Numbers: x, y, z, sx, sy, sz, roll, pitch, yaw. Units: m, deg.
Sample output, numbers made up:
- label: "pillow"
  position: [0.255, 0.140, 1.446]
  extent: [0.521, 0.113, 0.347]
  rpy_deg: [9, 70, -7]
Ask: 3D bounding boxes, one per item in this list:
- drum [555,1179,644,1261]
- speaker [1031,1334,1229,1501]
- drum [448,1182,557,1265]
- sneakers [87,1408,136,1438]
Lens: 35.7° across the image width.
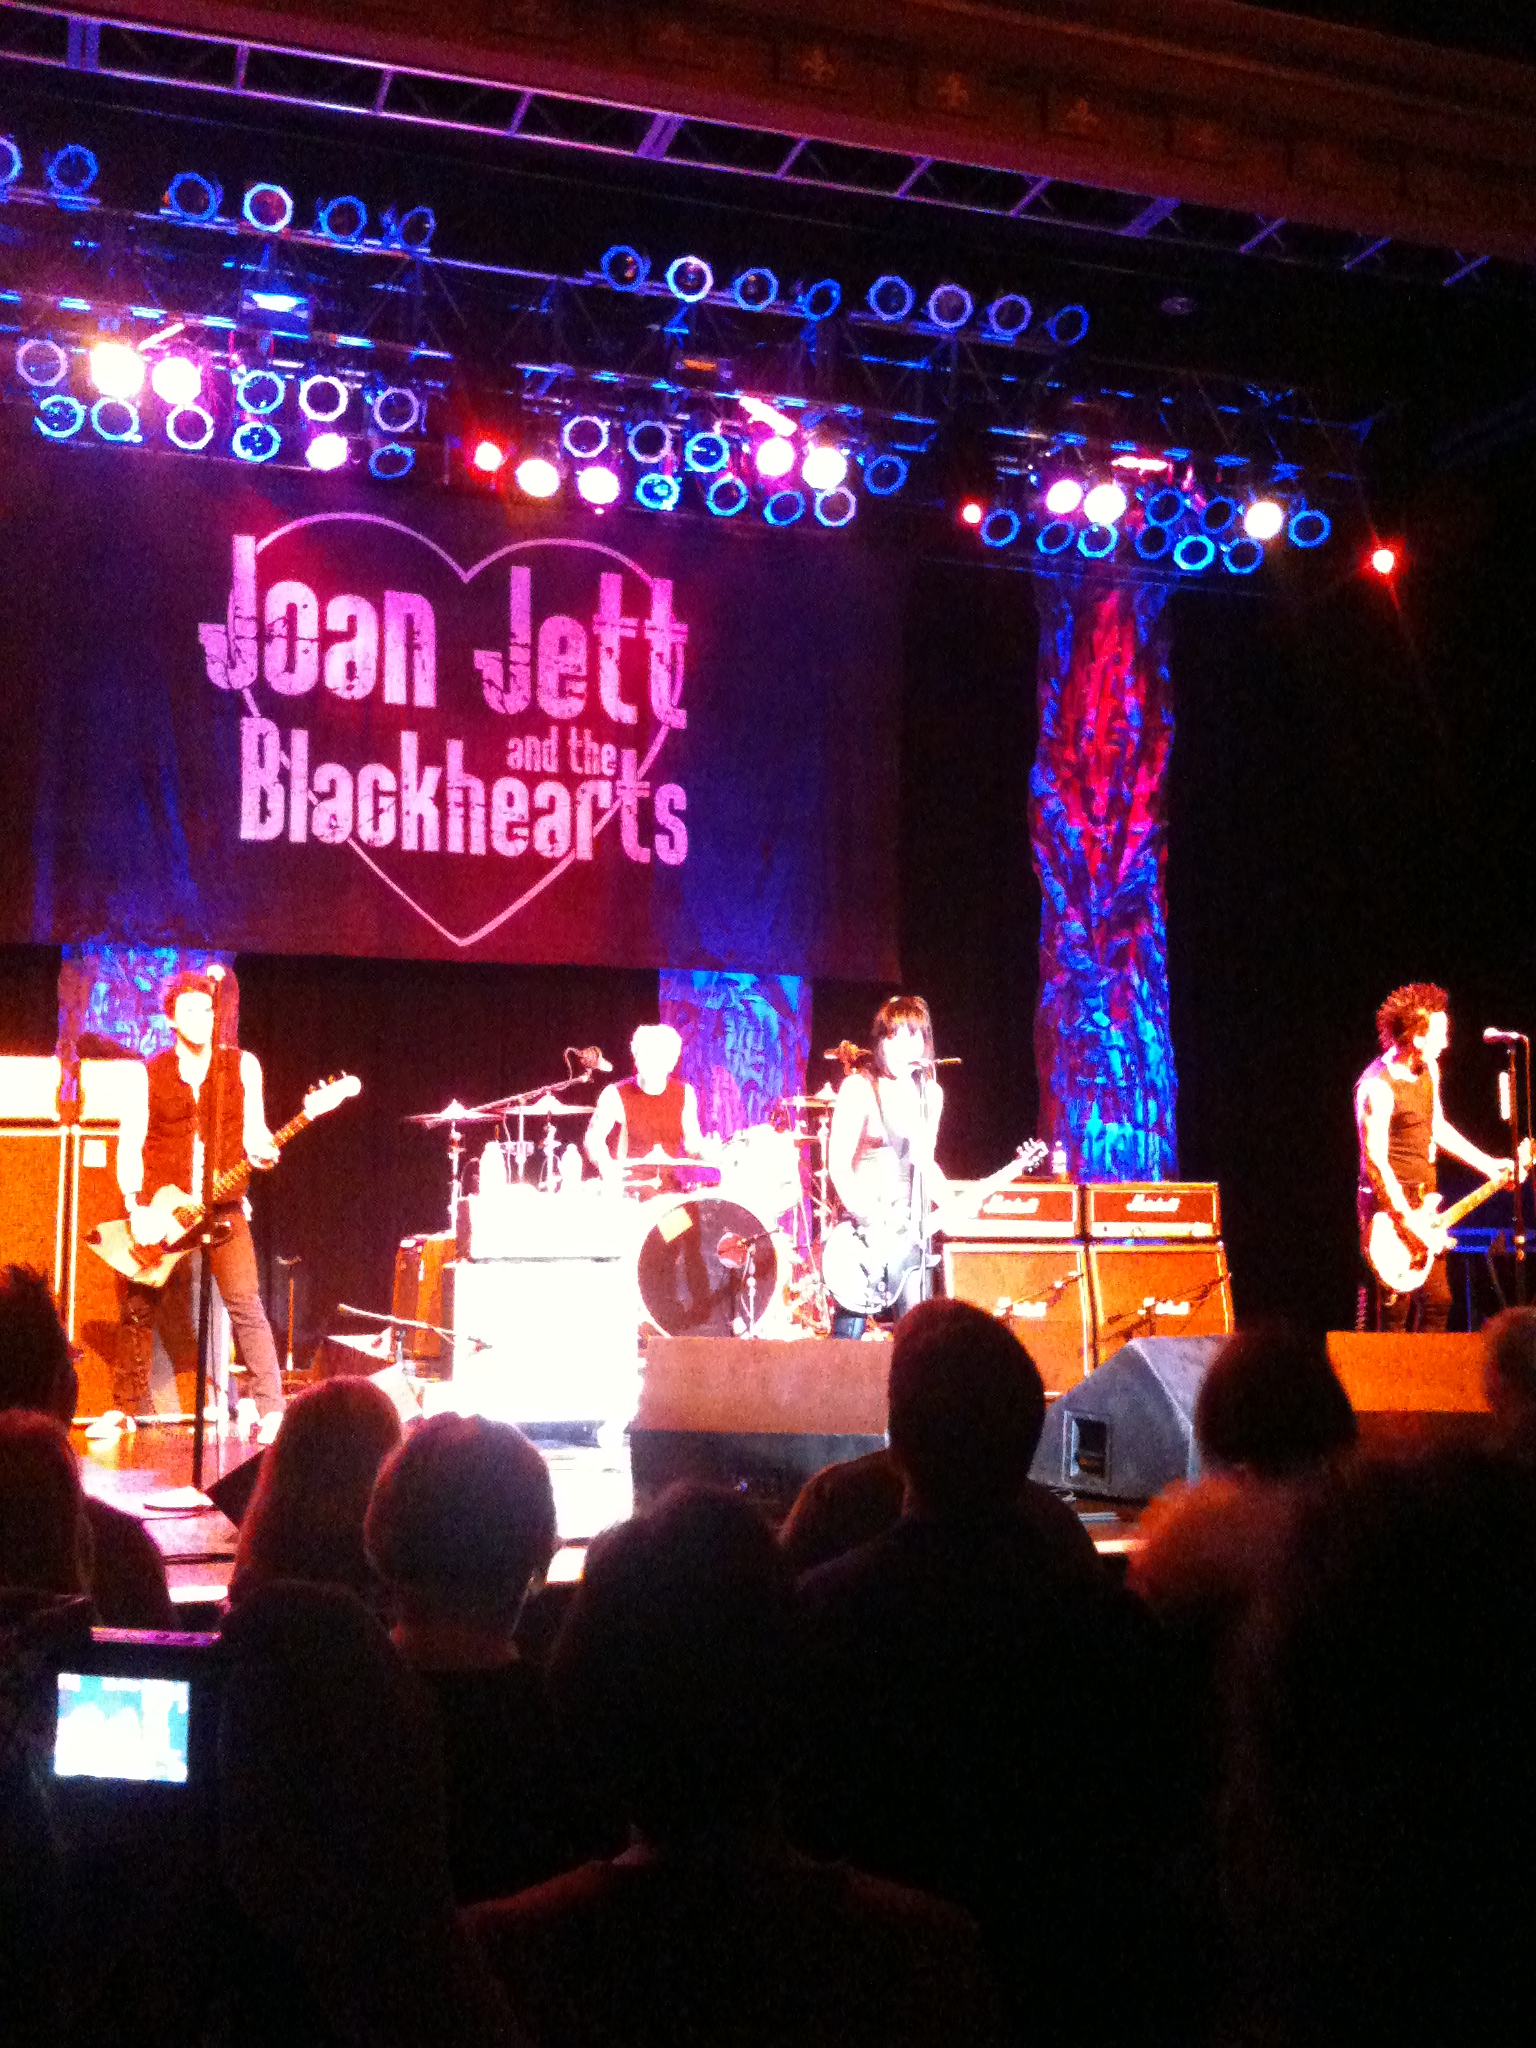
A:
- label: "drum"
  position: [-0.462, 0.522, 6.323]
  extent: [0.195, 0.118, 0.185]
  rpy_deg: [-1, 0, 0]
- label: "speaker"
  position: [0.658, 0.695, 4.457]
  extent: [0.457, 0.299, 0.415]
  rpy_deg: [6, -7, -44]
- label: "drum"
  position: [-0.692, 0.515, 6.202]
  extent: [0.210, 0.141, 0.210]
  rpy_deg: [0, -2, 0]
- label: "sneakers"
  position: [-1.855, 1.121, 6.703]
  extent: [0.065, 0.076, 0.189]
  rpy_deg: [13, -5, -9]
